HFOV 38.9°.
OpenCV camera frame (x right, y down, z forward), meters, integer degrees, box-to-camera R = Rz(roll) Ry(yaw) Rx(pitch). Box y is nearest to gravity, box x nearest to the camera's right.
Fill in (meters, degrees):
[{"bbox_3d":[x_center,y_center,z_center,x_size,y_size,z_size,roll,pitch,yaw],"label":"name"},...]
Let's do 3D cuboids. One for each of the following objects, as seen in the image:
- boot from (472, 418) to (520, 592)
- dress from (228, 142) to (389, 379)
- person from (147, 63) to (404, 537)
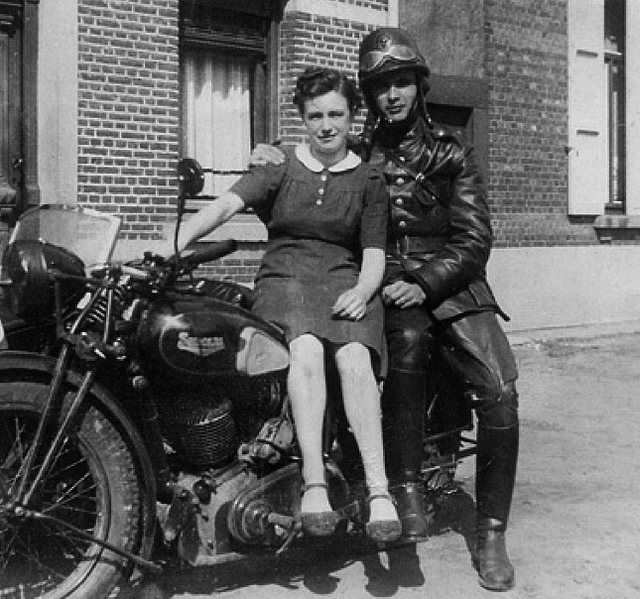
[{"bbox_3d":[0.693,0.798,3.573,0.161,0.618,0.240,2,5,12],"label":"boot"},{"bbox_3d":[-0.023,-0.079,3.621,0.664,1.308,0.699,1,-6,-7],"label":"dress"},{"bbox_3d":[-0.144,-0.060,3.356,0.829,0.861,1.913,-7,40,3],"label":"person"}]
